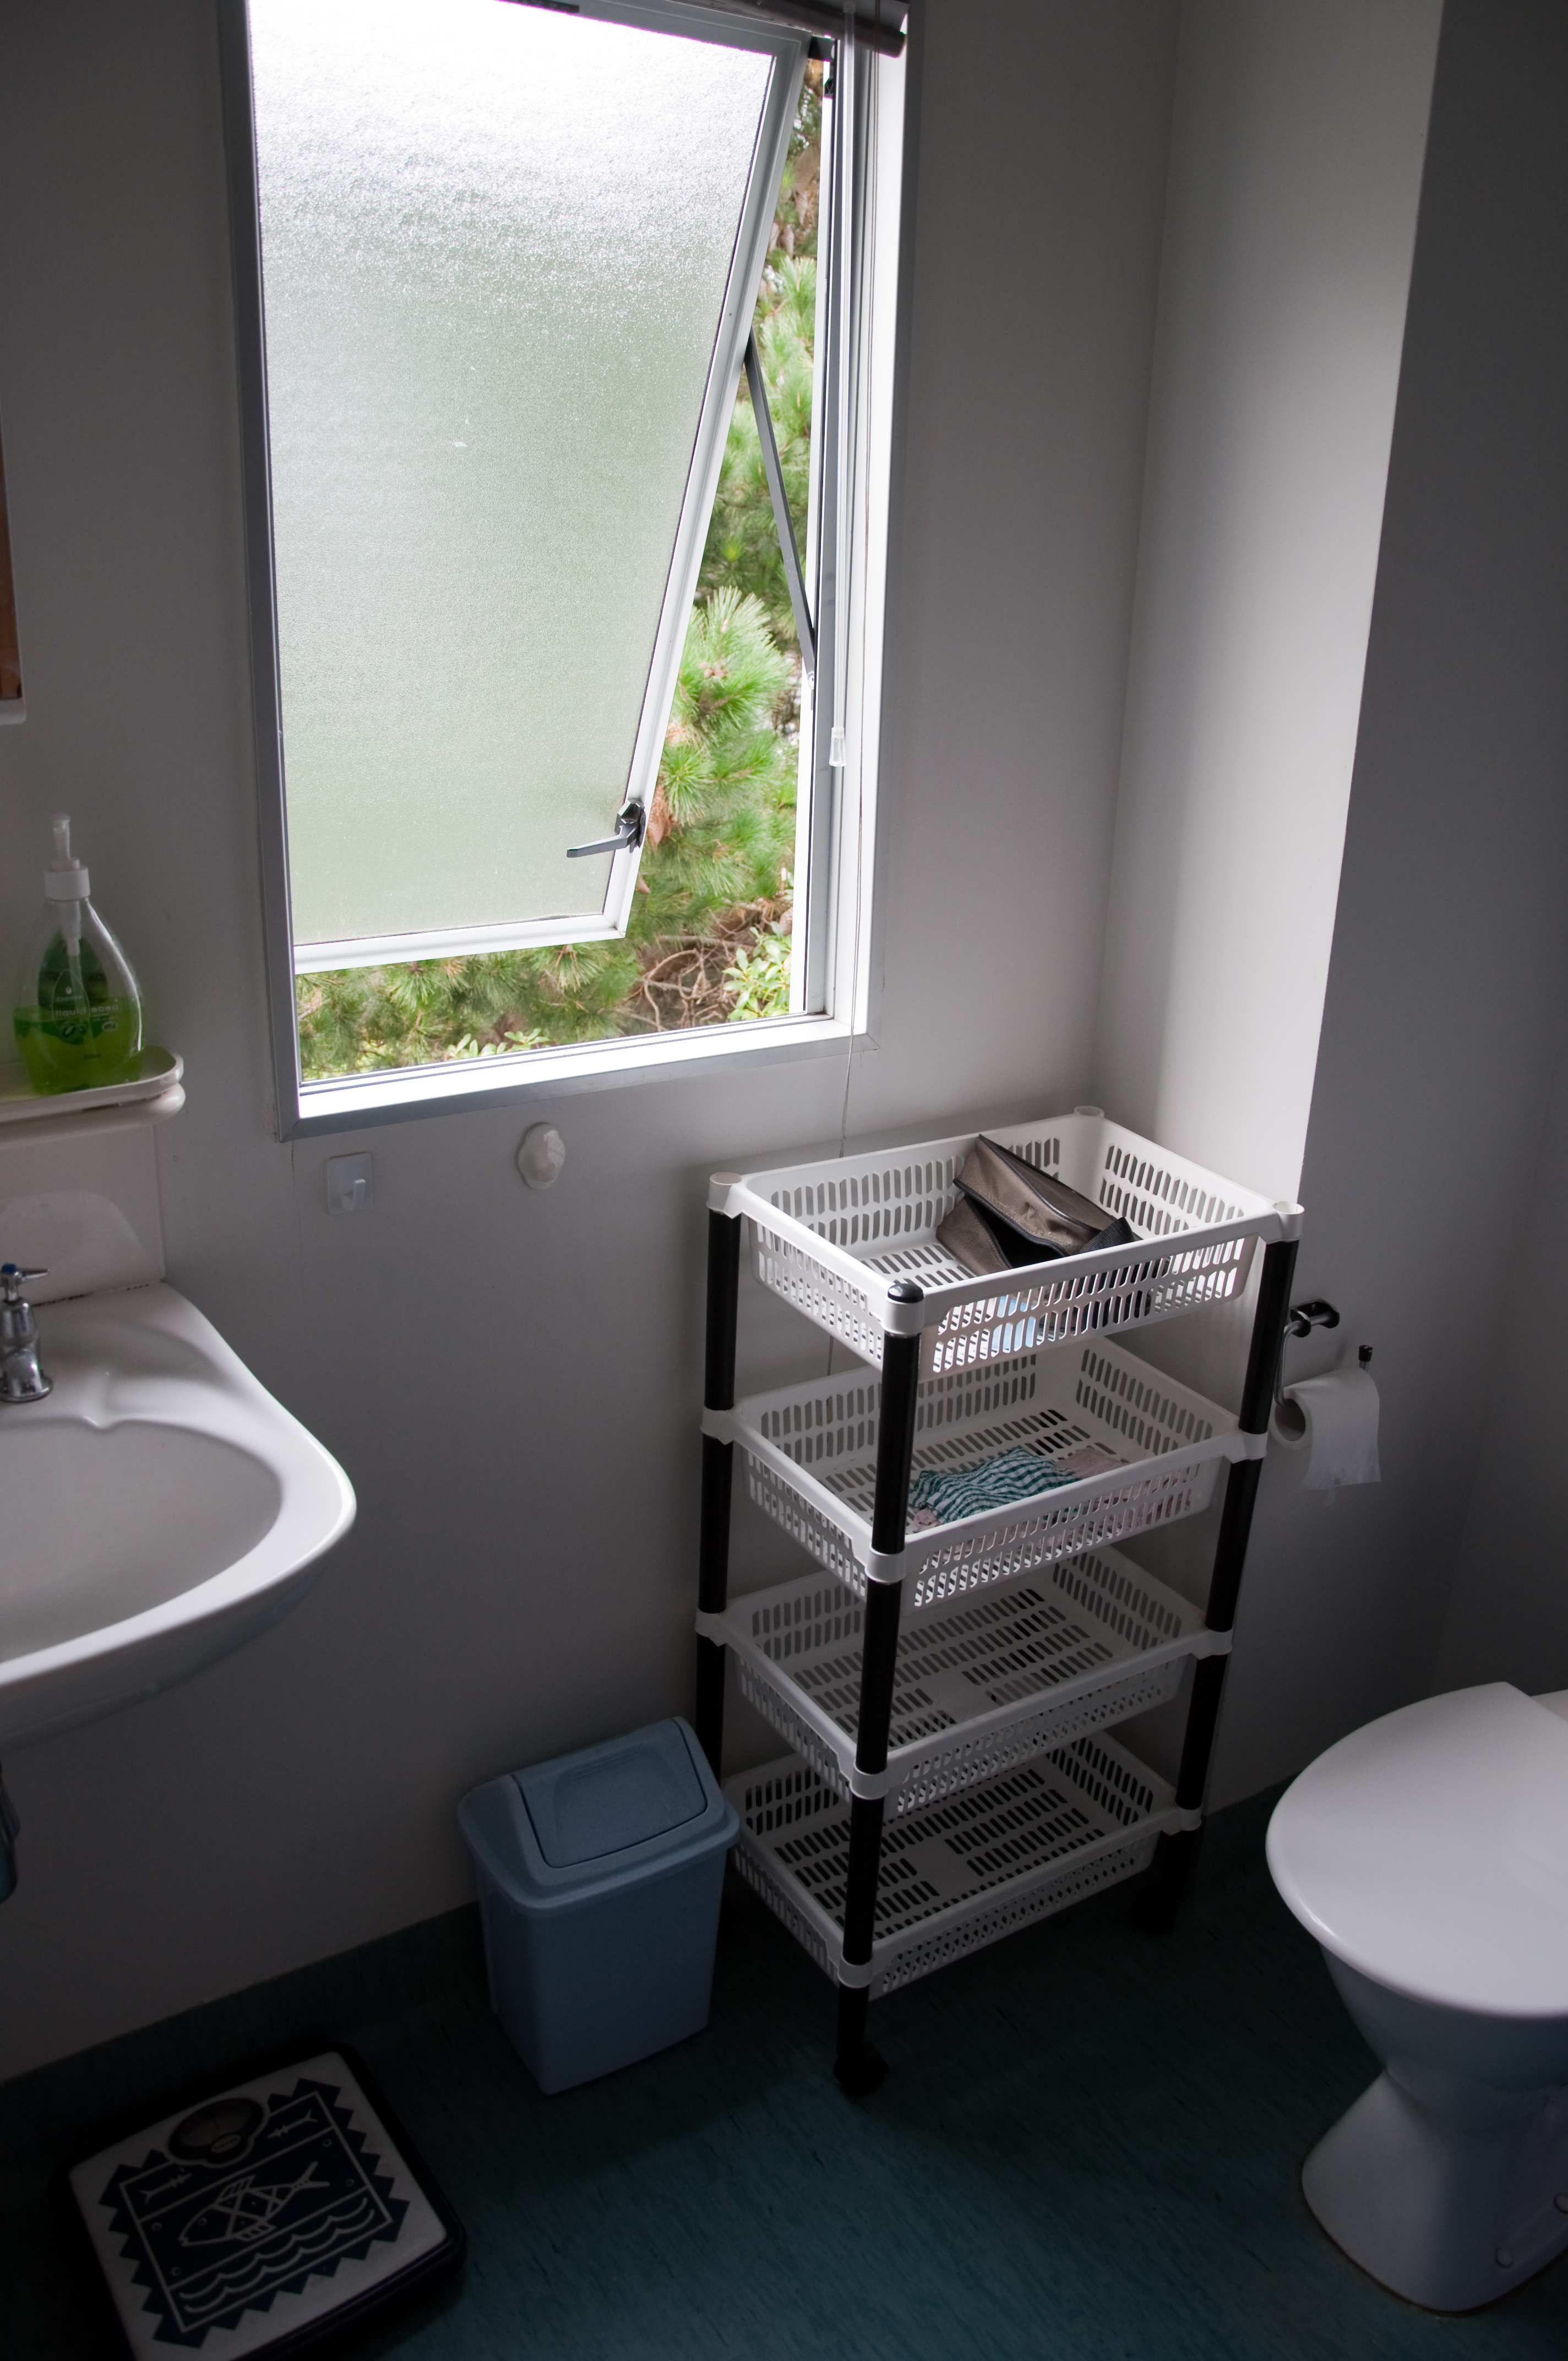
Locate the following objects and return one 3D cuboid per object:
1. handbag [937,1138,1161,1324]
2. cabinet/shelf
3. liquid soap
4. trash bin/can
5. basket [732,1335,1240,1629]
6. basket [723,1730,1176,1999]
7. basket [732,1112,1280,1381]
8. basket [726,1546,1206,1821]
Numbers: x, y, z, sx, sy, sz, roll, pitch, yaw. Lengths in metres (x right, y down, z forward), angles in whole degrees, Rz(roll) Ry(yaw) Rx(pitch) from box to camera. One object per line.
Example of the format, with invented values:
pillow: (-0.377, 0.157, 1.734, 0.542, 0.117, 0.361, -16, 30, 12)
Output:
handbag: (0.261, 0.071, 1.894, 0.186, 0.103, 0.256, 24, 25, 20)
cabinet/shelf: (0.169, 0.478, 1.983, 0.323, 0.921, 0.504, -14, 15, -31)
liquid soap: (-0.550, -0.156, 1.325, 0.088, 0.173, 0.039, -10, 21, -29)
trash bin/can: (-0.211, 0.807, 1.949, 0.260, 0.382, 0.216, -9, 25, -26)
basket: (0.239, 0.328, 1.931, 0.464, 0.129, 0.343, -12, 26, -30)
basket: (0.207, 0.830, 2.104, 0.421, 0.106, 0.299, -10, 24, -34)
basket: (0.236, 0.059, 1.843, 0.579, 0.144, 0.389, -12, 23, -30)
basket: (0.234, 0.596, 2.046, 0.449, 0.124, 0.307, -11, 30, -35)
